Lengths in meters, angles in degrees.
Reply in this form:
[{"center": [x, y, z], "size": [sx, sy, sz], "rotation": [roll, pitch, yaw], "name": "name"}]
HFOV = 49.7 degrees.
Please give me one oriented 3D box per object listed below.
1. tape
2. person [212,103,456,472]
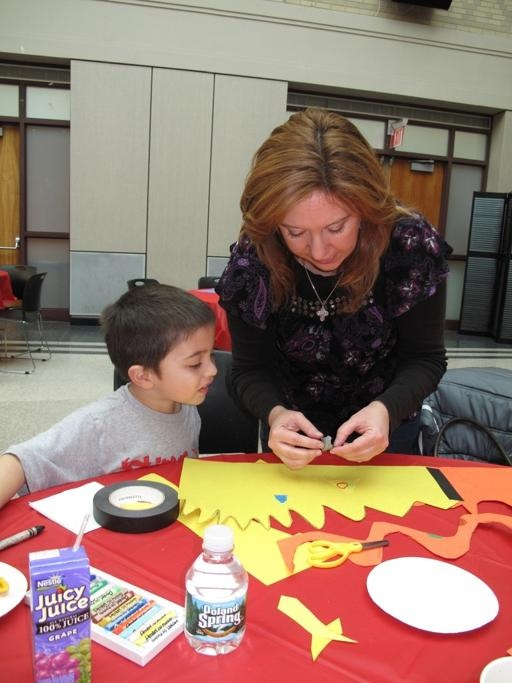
[{"center": [-0.195, 0.268, 0.902], "size": [0.134, 0.030, 0.131], "rotation": [8, 12, 20], "name": "tape"}, {"center": [0.139, -0.087, 1.176], "size": [0.528, 0.734, 0.393], "rotation": [6, 10, 17], "name": "person"}]
